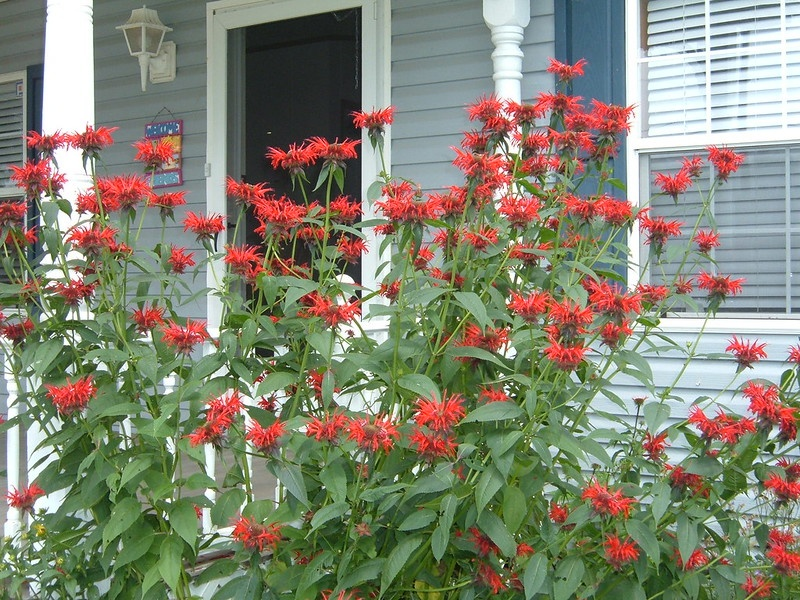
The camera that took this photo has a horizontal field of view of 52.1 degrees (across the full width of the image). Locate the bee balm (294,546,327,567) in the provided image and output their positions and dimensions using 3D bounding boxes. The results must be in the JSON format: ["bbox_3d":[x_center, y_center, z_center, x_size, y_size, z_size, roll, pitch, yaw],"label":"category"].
[{"bbox_3d":[-0.299,0.822,2.611,0.078,0.027,0.079,33,-47,-20],"label":"bee balm"}]

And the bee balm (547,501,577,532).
[{"bbox_3d":[0.546,0.731,2.748,0.102,0.072,0.100,30,-49,-26],"label":"bee balm"}]

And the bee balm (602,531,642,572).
[{"bbox_3d":[0.670,0.757,2.476,0.103,0.120,0.123,0,6,18],"label":"bee balm"}]

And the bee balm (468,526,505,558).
[{"bbox_3d":[0.266,0.738,2.483,0.069,0.083,0.079,7,27,-8],"label":"bee balm"}]

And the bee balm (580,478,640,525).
[{"bbox_3d":[0.612,0.566,2.419,0.122,0.055,0.122,7,19,-43],"label":"bee balm"}]

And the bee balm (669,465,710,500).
[{"bbox_3d":[0.923,0.583,2.590,0.112,0.066,0.118,34,3,8],"label":"bee balm"}]

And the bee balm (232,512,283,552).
[{"bbox_3d":[-0.429,0.694,2.469,0.112,0.057,0.119,18,2,36],"label":"bee balm"}]
